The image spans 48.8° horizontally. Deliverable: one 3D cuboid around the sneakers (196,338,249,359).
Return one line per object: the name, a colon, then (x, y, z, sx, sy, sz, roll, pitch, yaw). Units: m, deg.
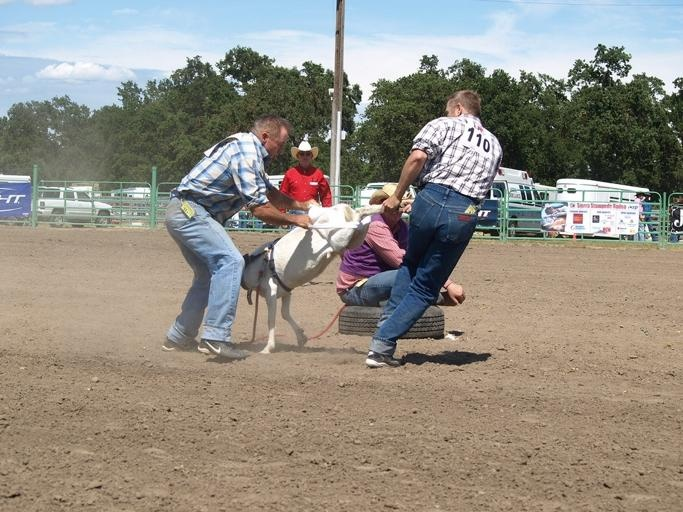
sneakers: (-1.028, 0.796, 6.497, 0.447, 0.181, 0.158, 13, 9, -15)

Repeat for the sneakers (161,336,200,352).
sneakers: (-1.447, 0.780, 6.862, 0.408, 0.165, 0.144, -1, 7, -12)

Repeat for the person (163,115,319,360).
person: (-0.978, -0.145, 6.555, 1.243, 2.134, 0.789, 0, 11, -4)

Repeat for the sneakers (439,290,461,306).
sneakers: (0.947, 0.389, 6.716, 0.151, 0.058, 0.149, -5, 11, 30)

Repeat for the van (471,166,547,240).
van: (5.501, -1.597, 23.905, 2.494, 2.161, 4.061, 1, 6, 29)

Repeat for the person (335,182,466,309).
person: (0.607, -0.122, 7.548, 1.281, 1.203, 0.858, 0, 1, 32)

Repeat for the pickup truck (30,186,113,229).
pickup truck: (-9.646, -1.768, 26.932, 2.613, 1.207, 1.390, -2, 1, -22)

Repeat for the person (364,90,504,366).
person: (0.797, -0.195, 6.199, 1.080, 2.266, 0.566, -8, 14, -38)

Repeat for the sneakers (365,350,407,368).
sneakers: (0.377, 0.857, 6.320, 0.316, 0.144, 0.121, 0, 4, -18)

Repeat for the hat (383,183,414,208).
hat: (0.563, -0.591, 7.270, 0.281, 0.137, 0.355, -1, 0, 35)
